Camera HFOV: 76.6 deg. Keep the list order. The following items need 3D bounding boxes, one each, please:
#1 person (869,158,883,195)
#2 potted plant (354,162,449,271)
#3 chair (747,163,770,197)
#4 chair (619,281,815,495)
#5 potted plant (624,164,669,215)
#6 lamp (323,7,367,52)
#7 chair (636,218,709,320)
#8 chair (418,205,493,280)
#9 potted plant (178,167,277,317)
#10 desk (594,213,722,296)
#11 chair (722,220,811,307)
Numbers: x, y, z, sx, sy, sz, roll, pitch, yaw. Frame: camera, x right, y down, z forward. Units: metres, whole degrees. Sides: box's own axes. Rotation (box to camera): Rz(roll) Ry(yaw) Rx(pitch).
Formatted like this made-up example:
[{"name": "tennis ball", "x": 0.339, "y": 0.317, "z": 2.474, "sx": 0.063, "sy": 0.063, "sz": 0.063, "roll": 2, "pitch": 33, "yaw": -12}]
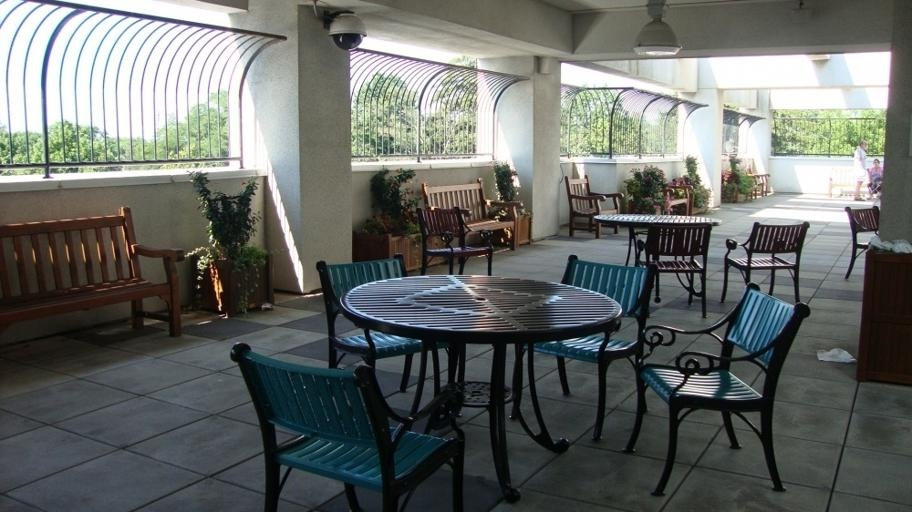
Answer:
[{"name": "person", "x": 17.151, "y": -3.226, "z": 23.668, "sx": 0.384, "sy": 1.456, "sz": 1.435, "roll": 1, "pitch": 12, "yaw": 32}, {"name": "potted plant", "x": -1.062, "y": -0.692, "z": 10.597, "sx": 1.069, "sy": 2.113, "sz": 2.234, "roll": 1, "pitch": 4, "yaw": 19}, {"name": "chair", "x": 13.722, "y": -3.416, "z": 26.102, "sx": 0.901, "sy": 1.333, "sz": 0.896, "roll": 0, "pitch": 7, "yaw": 32}, {"name": "chair", "x": 2.269, "y": 1.129, "z": 5.229, "sx": 1.585, "sy": 1.476, "sz": 1.422, "roll": -4, "pitch": 5, "yaw": -16}, {"name": "potted plant", "x": 5.510, "y": -1.960, "z": 17.063, "sx": 1.393, "sy": 1.764, "sz": 1.466, "roll": 2, "pitch": 8, "yaw": 19}, {"name": "lamp", "x": -1.730, "y": -3.480, "z": 9.028, "sx": 0.684, "sy": 0.549, "sz": 0.597, "roll": 10, "pitch": 14, "yaw": 39}, {"name": "chair", "x": 3.257, "y": 0.169, "z": 8.465, "sx": 1.138, "sy": 1.281, "sz": 1.078, "roll": 4, "pitch": -3, "yaw": 0}, {"name": "chair", "x": -0.010, "y": -0.196, "z": 10.001, "sx": 1.223, "sy": 1.272, "sz": 1.091, "roll": -3, "pitch": 9, "yaw": -22}, {"name": "potted plant", "x": -3.437, "y": -0.218, "z": 8.569, "sx": 1.088, "sy": 2.078, "sz": 0.811, "roll": -3, "pitch": 11, "yaw": 15}, {"name": "desk", "x": 3.346, "y": -0.218, "z": 10.720, "sx": 2.040, "sy": 0.964, "sz": 1.964, "roll": 7, "pitch": 1, "yaw": 10}, {"name": "chair", "x": 5.032, "y": 0.118, "z": 9.470, "sx": 1.130, "sy": 1.267, "sz": 1.044, "roll": -2, "pitch": 5, "yaw": -17}]
